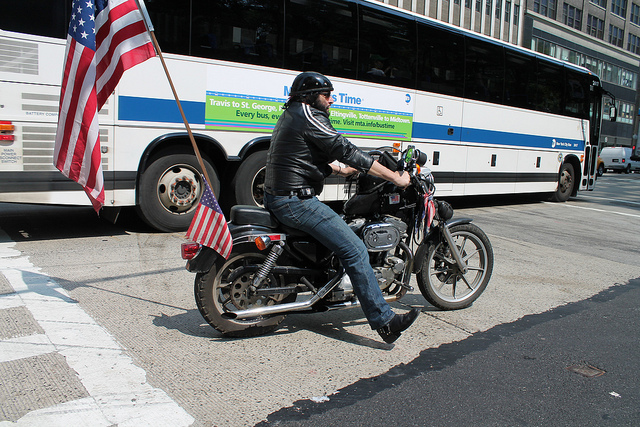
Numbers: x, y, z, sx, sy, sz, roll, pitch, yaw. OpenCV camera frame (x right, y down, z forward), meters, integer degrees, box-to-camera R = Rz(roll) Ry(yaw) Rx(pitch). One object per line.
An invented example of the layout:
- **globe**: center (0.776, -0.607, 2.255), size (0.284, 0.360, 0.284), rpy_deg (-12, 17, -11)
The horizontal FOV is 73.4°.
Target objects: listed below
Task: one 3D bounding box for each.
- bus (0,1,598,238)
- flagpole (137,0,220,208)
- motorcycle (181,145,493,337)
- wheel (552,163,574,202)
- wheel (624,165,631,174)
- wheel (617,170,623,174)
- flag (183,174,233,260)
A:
- **bus**: center (1.213, -2.511, 12.162), size (16.310, 4.569, 4.676), rpy_deg (-6, 10, -37)
- **flagpole**: center (-2.468, -1.979, 7.325), size (0.250, 3.917, 0.204), rpy_deg (-7, 12, 46)
- **motorcycle**: center (0.418, 0.235, 4.540), size (3.532, 1.826, 1.307), rpy_deg (-3, 10, -21)
- **wheel**: center (8.683, -1.161, 15.258), size (0.478, 1.196, 1.175), rpy_deg (0, -13, 40)
- **wheel**: center (31.070, -4.500, 43.223), size (0.795, 0.810, 0.295), rpy_deg (0, -10, -38)
- **wheel**: center (30.557, -4.276, 43.559), size (0.413, 0.408, 0.100), rpy_deg (6, 12, -4)
- **flag**: center (-1.006, 0.040, 4.036), size (0.442, 0.723, 0.364), rpy_deg (4, 10, 10)
